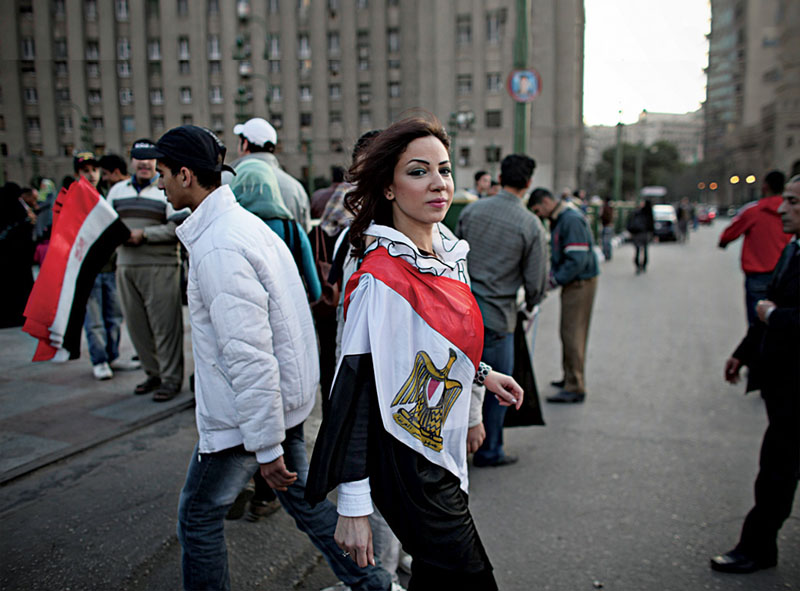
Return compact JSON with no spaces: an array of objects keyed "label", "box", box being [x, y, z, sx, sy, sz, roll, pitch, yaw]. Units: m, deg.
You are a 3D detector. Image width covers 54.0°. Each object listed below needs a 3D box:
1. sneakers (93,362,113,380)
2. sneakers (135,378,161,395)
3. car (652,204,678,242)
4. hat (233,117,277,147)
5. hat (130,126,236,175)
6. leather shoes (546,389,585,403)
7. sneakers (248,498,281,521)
[{"label":"sneakers","box":[-3.088,0.783,8.150,0.114,0.117,0.256,-8,10,-32]},{"label":"sneakers","box":[-2.460,0.872,7.704,0.112,0.141,0.305,5,7,23]},{"label":"car","box":[11.656,-3.101,34.492,0.978,1.530,2.624,1,9,19]},{"label":"hat","box":[-1.312,-1.433,7.065,0.335,0.179,0.263,25,30,-4]},{"label":"hat","box":[-1.301,-0.854,4.597,0.417,0.191,0.288,6,8,-11]},{"label":"leather shoes","box":[1.721,1.051,8.185,0.423,0.196,0.155,2,-5,2]},{"label":"sneakers","box":[-0.982,1.527,5.724,0.086,0.167,0.224,12,21,39]}]
